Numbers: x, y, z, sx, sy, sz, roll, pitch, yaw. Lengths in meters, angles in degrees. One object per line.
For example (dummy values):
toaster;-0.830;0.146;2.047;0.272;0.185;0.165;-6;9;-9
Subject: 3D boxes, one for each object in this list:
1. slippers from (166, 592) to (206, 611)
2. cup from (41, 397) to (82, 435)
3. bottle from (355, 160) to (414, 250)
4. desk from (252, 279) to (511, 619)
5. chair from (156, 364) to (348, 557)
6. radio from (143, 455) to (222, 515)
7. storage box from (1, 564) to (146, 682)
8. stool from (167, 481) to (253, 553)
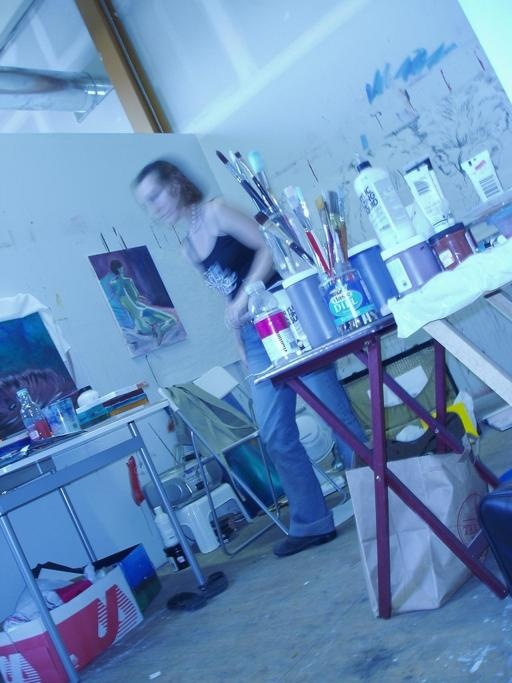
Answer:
slippers;-0.266;0.982;1.971;0.148;0.041;0.085;-4;-4;22
cup;-0.852;0.329;2.286;0.089;0.122;0.092;-26;-11;-5
bottle;0.264;-0.300;1.116;0.075;0.212;0.108;-29;0;19
desk;0.371;0.244;1.243;0.346;0.745;0.479;-29;0;39
chair;-0.007;0.527;2.735;0.785;0.931;0.588;-14;11;-1
radio;-0.422;0.757;3.017;0.425;0.205;0.524;-20;9;-25
storage box;-0.638;1.055;1.902;0.365;0.218;0.360;-28;2;3
stool;-0.258;0.931;2.880;0.335;0.243;0.322;-23;-11;-39
